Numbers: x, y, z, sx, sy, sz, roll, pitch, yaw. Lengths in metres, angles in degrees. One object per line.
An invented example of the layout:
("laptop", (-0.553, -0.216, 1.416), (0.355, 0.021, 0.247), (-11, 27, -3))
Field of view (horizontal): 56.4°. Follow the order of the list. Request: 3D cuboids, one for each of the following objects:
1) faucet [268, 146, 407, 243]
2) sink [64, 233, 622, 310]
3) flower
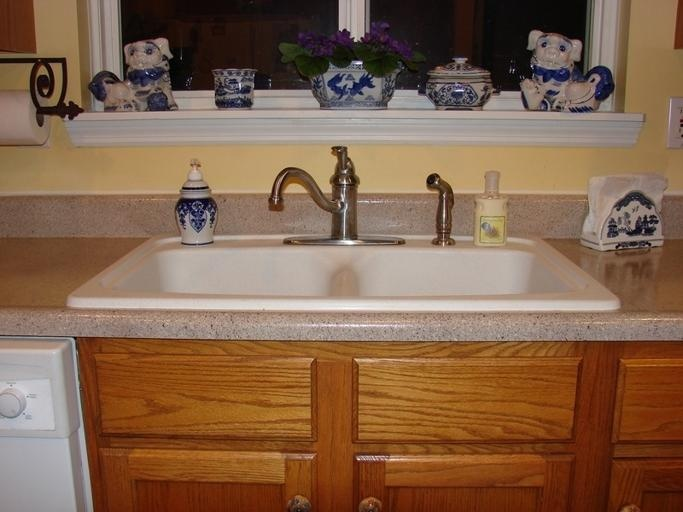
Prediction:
("faucet", (-0.021, -0.133, 1.637), (0.298, 0.198, 0.263), (-2, 6, -38))
("sink", (0.006, 0.063, 1.473), (1.061, 0.142, 0.545), (-1, 13, 1))
("flower", (0.023, -0.529, 1.655), (0.203, 0.072, 0.214), (-33, 51, -31))
